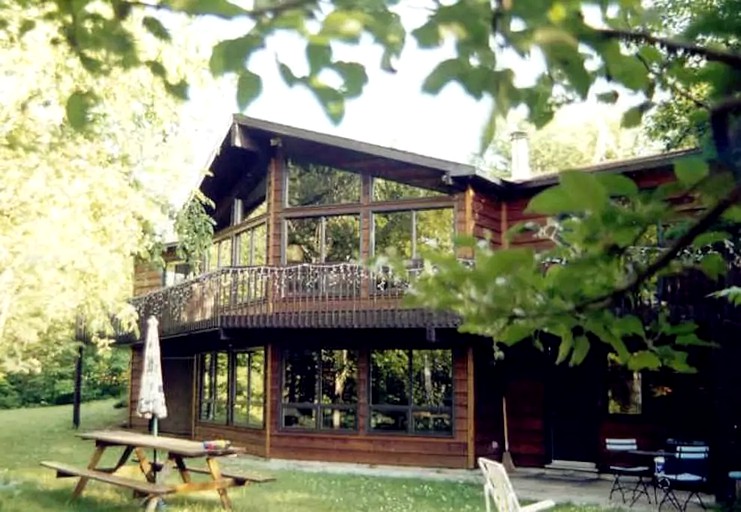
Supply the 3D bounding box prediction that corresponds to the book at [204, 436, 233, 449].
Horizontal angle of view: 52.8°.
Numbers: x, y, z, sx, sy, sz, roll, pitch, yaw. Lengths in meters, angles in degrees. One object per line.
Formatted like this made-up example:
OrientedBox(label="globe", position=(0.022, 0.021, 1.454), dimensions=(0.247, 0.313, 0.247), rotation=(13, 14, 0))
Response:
OrientedBox(label="book", position=(-2.133, 2.631, 10.350), dimensions=(0.326, 0.202, 0.631), rotation=(8, -20, -12))
